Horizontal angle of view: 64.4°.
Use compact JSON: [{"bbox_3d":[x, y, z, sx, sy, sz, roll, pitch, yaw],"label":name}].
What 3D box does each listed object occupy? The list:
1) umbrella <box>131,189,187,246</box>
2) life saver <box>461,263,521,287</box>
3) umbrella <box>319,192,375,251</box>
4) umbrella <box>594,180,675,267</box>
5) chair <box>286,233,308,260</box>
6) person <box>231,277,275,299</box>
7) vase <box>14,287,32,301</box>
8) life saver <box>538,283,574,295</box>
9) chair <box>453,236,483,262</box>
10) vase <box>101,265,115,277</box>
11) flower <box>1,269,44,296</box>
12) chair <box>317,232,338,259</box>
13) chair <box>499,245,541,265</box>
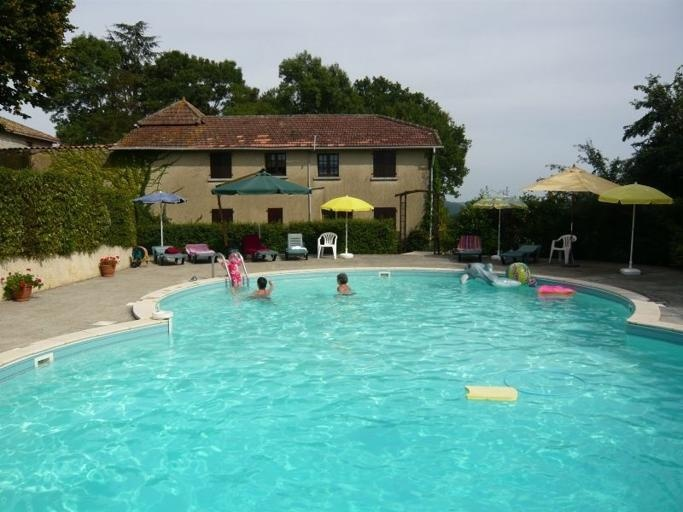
[{"bbox_3d":[-7.844,-1.603,23.440,2.371,2.062,2.151,-2,-1,-14],"label":"umbrella"},{"bbox_3d":[4.928,0.634,18.100,1.761,0.661,0.783,4,10,36],"label":"life saver"},{"bbox_3d":[0.159,-1.553,23.736,2.297,2.150,2.212,-5,-8,35],"label":"umbrella"},{"bbox_3d":[10.541,-1.008,19.461,2.176,3.201,4.136,7,13,30],"label":"umbrella"},{"bbox_3d":[-2.103,-0.505,24.610,0.876,0.865,1.455,0,-3,-9],"label":"chair"},{"bbox_3d":[-2.605,0.884,16.187,0.703,0.555,1.201,-4,7,-36],"label":"person"},{"bbox_3d":[-8.497,0.987,14.373,0.432,0.291,0.397,-1,-3,-6],"label":"vase"},{"bbox_3d":[6.634,1.003,16.595,0.938,0.252,0.960,7,12,31],"label":"life saver"},{"bbox_3d":[5.551,-0.368,23.705,0.944,0.753,1.442,0,-3,9],"label":"chair"},{"bbox_3d":[-8.178,0.495,18.767,0.438,0.274,0.407,0,-2,-17],"label":"vase"},{"bbox_3d":[-8.606,0.714,14.465,0.759,0.437,0.699,0,4,0],"label":"flower"},{"bbox_3d":[-0.737,-0.533,25.615,1.362,1.547,1.235,0,-3,2],"label":"chair"},{"bbox_3d":[7.289,-0.072,21.866,1.782,0.571,0.967,-10,8,-39],"label":"chair"}]
